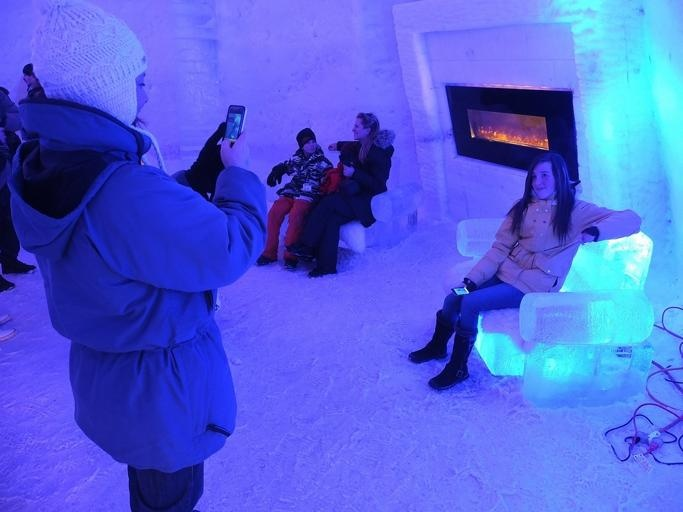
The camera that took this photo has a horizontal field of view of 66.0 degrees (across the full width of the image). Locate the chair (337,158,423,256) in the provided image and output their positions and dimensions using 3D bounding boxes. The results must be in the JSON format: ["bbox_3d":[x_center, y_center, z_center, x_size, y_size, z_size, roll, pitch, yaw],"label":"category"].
[{"bbox_3d":[0.338,-0.411,4.612,0.612,0.417,0.626,-15,12,-38],"label":"chair"}]

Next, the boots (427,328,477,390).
[{"bbox_3d":[0.641,0.599,3.108,0.290,0.349,0.116,-9,22,-25],"label":"boots"}]

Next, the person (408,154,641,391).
[{"bbox_3d":[1.054,0.080,3.200,1.000,1.407,0.610,8,14,-3],"label":"person"}]

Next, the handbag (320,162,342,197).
[{"bbox_3d":[-0.082,-0.675,4.573,0.091,0.251,0.235,18,-13,-26],"label":"handbag"}]

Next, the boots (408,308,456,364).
[{"bbox_3d":[0.564,0.505,3.301,0.264,0.311,0.125,-4,30,-12],"label":"boots"}]

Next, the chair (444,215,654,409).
[{"bbox_3d":[1.458,0.319,3.492,0.723,0.977,1.356,2,8,15],"label":"chair"}]
